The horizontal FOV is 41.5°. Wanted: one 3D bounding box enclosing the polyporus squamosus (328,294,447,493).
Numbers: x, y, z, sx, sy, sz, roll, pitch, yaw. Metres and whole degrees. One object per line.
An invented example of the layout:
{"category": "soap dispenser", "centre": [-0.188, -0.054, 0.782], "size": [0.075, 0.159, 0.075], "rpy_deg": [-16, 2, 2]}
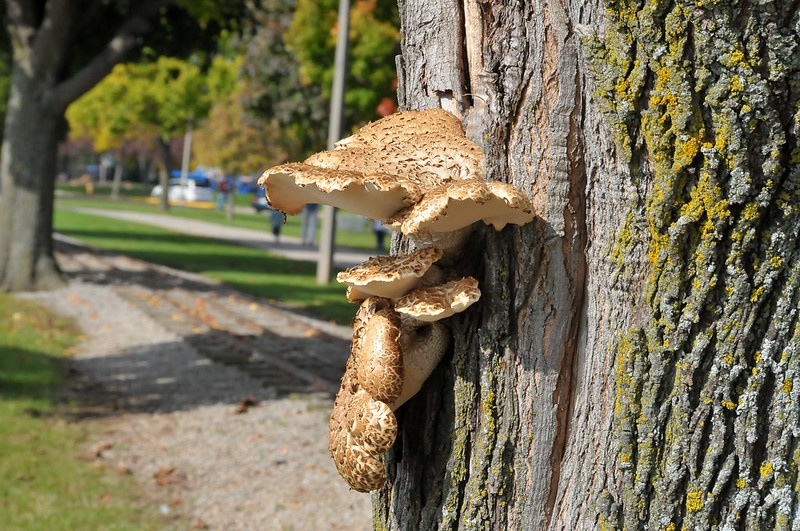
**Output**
{"category": "polyporus squamosus", "centre": [-0.134, 0.809, 6.553], "size": [0.327, 1.147, 0.877], "rpy_deg": [17, 13, -36]}
